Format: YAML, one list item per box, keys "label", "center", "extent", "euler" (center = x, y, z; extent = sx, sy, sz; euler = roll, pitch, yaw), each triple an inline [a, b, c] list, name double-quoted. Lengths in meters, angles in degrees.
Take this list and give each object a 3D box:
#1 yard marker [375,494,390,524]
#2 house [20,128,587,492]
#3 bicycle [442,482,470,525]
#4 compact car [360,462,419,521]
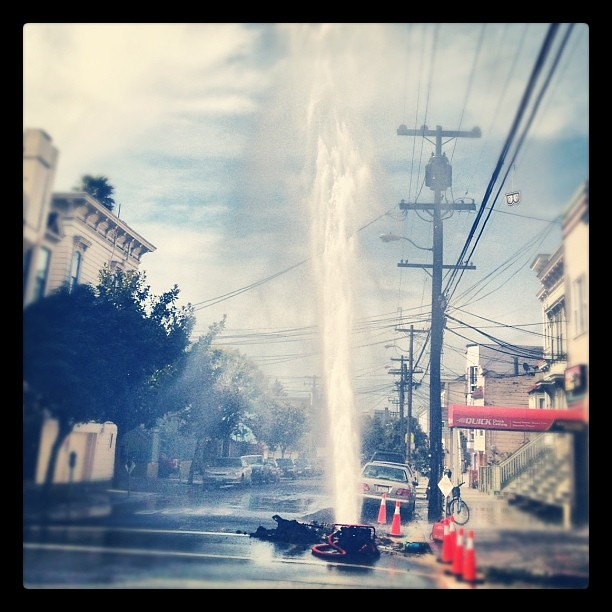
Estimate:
- label: "yard marker"
  center: [1.613, 4.287, 18.531]
  extent: [0.416, 0.612, 0.454]
  euler: [3, -18, -1]
- label: "house"
  center: [-0.992, 2.108, 25.798]
  extent: [11.134, 12.736, 6.757]
  euler: [-2, -20, 2]
- label: "bicycle"
  center: [3.317, 4.366, 19.354]
  extent: [0.682, 0.942, 1.482]
  euler: [1, -18, -2]
- label: "compact car"
  center: [1.758, 4.020, 19.092]
  extent: [0.905, 0.706, 2.085]
  euler: [0, -18, 6]
